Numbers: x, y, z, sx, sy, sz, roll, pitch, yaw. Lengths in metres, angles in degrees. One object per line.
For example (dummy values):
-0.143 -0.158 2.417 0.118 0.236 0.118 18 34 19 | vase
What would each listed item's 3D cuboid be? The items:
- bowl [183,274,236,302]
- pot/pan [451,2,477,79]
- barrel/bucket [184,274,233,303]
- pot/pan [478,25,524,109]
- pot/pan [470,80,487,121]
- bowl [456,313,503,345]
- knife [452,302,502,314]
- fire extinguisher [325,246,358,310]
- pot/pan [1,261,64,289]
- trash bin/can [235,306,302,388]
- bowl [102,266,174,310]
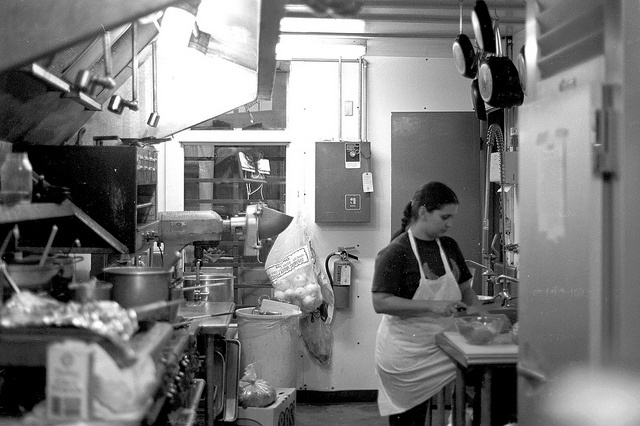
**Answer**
-0.723 0.498 4.028 0.349 0.216 0.339 0 1 0 | bowl
0.845 -0.980 3.576 0.133 0.343 0.434 0 -2 13 | pot/pan
-0.719 0.495 4.019 0.350 0.214 0.335 0 1 0 | barrel/bucket
0.989 -0.730 3.386 0.242 0.287 0.170 -1 -3 23 | pot/pan
0.998 -0.708 3.872 0.075 0.250 0.187 -1 17 9 | pot/pan
0.826 0.594 3.143 0.157 0.080 0.156 -2 1 0 | bowl
0.885 0.537 3.408 0.335 0.060 0.101 1 -2 -28 | knife
0.175 0.549 5.019 0.280 0.529 0.157 0 -3 1 | fire extinguisher
-1.036 0.237 2.234 0.145 0.102 0.250 0 -2 -3 | pot/pan
-0.313 0.982 4.524 0.495 0.551 0.521 0 -2 1 | trash bin/can
-0.661 0.276 2.237 0.181 0.130 0.183 0 2 0 | bowl
